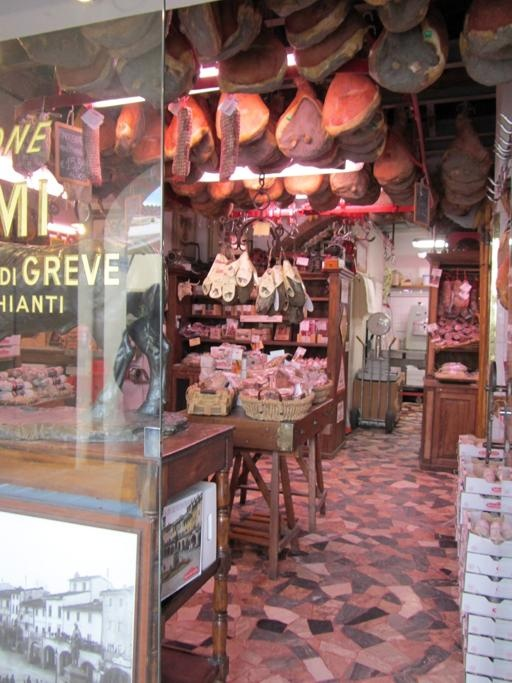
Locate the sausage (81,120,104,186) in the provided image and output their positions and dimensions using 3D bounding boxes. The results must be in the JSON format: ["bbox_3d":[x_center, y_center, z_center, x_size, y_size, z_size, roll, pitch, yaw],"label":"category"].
[{"bbox_3d":[-0.420,-0.481,1.422,0.069,0.164,0.016,2,2,26],"label":"sausage"}]

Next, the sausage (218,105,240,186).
[{"bbox_3d":[-0.127,-0.897,2.538,0.091,0.353,0.080,-2,9,-3],"label":"sausage"}]
